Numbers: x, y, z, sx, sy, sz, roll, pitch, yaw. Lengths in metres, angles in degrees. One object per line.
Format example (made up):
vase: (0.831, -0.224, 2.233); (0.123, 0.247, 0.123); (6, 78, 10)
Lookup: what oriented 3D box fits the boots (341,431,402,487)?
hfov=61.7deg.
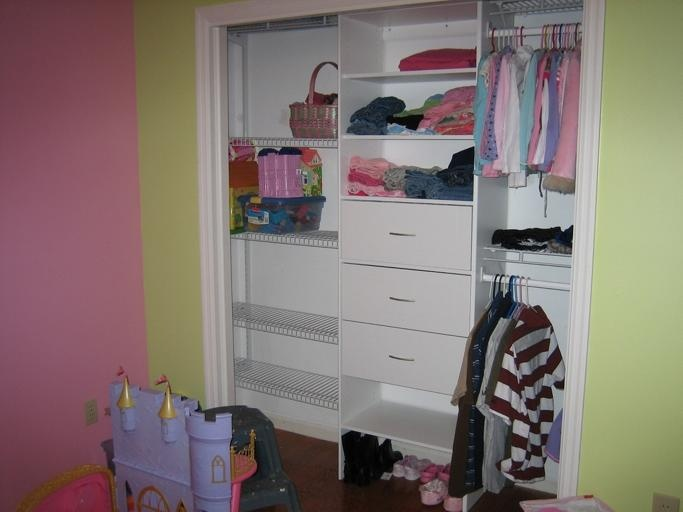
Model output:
boots: (0.168, 1.257, 3.593); (0.171, 0.348, 0.492); (4, 8, 34)

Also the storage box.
storage box: (-0.424, -0.306, 3.836); (0.364, 0.177, 0.292); (5, 11, 36)
